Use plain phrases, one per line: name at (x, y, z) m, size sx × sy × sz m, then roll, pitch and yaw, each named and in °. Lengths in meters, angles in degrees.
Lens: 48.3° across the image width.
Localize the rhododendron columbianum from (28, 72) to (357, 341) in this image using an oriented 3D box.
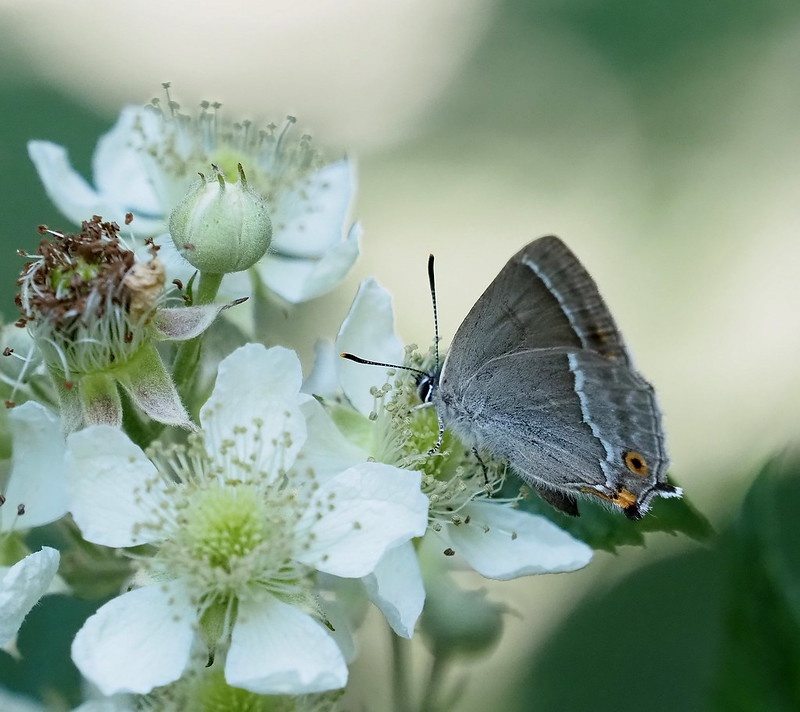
rhododendron columbianum at (-0.344, -0.263, 1.751) m, size 0.508 × 0.261 × 0.606 m, roll 5°, pitch -5°, yaw 34°

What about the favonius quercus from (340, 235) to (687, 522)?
favonius quercus at (0.229, 0.031, 1.662) m, size 0.585 × 0.382 × 0.604 m, roll 15°, pitch 0°, yaw 7°
